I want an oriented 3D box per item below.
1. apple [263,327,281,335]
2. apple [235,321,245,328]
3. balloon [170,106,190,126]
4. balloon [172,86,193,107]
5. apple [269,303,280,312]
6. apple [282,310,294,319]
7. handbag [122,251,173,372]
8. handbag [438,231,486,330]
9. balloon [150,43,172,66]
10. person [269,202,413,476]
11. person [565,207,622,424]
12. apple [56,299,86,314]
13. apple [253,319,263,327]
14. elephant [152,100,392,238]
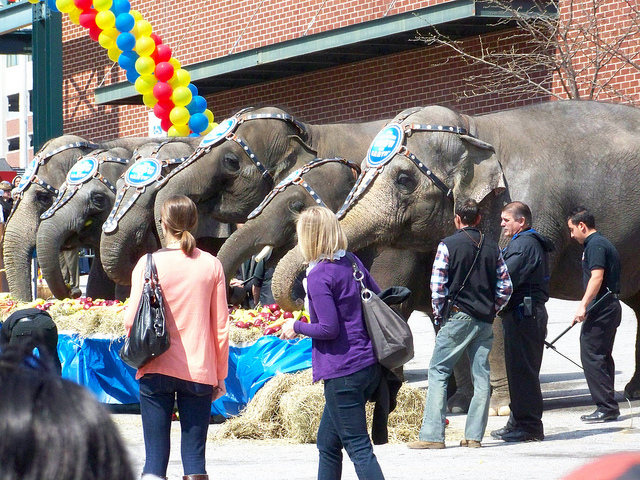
[{"bbox_3d":[-0.486,0.900,12.308,0.106,0.062,0.080,-14,-6,12],"label":"apple"},{"bbox_3d":[-0.834,0.871,12.650,0.076,0.061,0.061,4,-3,-26],"label":"apple"},{"bbox_3d":[-2.051,-1.814,17.719,0.259,0.292,0.259,-13,-27,10],"label":"balloon"},{"bbox_3d":[-1.994,-2.110,17.884,0.273,0.259,0.261,14,16,6],"label":"balloon"},{"bbox_3d":[-0.508,0.728,13.228,0.120,0.135,0.118,3,12,9],"label":"apple"},{"bbox_3d":[-0.337,0.761,12.522,0.089,0.092,0.088,-1,12,-2],"label":"apple"},{"bbox_3d":[-1.415,0.575,9.815,0.377,0.767,0.230,-4,-1,-10],"label":"handbag"},{"bbox_3d":[1.319,0.379,11.252,0.295,1.003,0.098,28,-7,15],"label":"handbag"},{"bbox_3d":[-2.365,-2.760,18.329,0.325,0.240,0.238,-30,34,2],"label":"balloon"},{"bbox_3d":[0.234,0.786,9.791,0.902,1.876,0.438,-4,-1,-3],"label":"person"},{"bbox_3d":[2.684,0.740,12.143,0.654,2.034,0.388,-3,-2,-42],"label":"person"},{"bbox_3d":[-2.908,0.774,14.224,0.200,0.097,0.221,-2,-2,31],"label":"apple"},{"bbox_3d":[-0.648,0.852,12.669,0.100,0.061,0.099,-4,-1,-4],"label":"apple"},{"bbox_3d":[-0.276,-0.537,14.467,3.030,1.766,1.240,0,-7,8],"label":"elephant"}]
